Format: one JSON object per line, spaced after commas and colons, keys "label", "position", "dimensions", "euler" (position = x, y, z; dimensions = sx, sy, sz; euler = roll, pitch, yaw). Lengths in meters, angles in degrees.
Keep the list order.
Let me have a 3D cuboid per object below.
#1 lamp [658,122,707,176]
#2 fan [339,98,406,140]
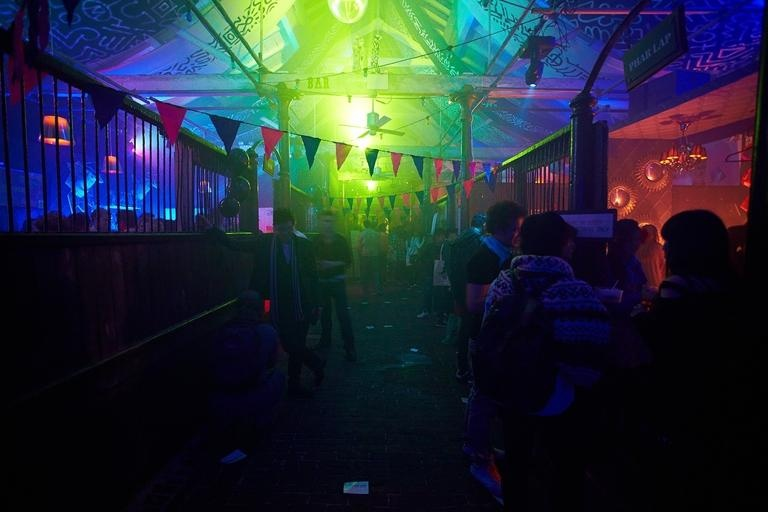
{"label": "lamp", "position": [5.381, -1.935, 10.045], "dimensions": [0.747, 0.982, 0.827], "euler": [-1, -2, -3]}
{"label": "fan", "position": [-0.410, -4.278, 17.144], "dimensions": [1.590, 1.553, 1.674], "euler": [0, -10, -9]}
